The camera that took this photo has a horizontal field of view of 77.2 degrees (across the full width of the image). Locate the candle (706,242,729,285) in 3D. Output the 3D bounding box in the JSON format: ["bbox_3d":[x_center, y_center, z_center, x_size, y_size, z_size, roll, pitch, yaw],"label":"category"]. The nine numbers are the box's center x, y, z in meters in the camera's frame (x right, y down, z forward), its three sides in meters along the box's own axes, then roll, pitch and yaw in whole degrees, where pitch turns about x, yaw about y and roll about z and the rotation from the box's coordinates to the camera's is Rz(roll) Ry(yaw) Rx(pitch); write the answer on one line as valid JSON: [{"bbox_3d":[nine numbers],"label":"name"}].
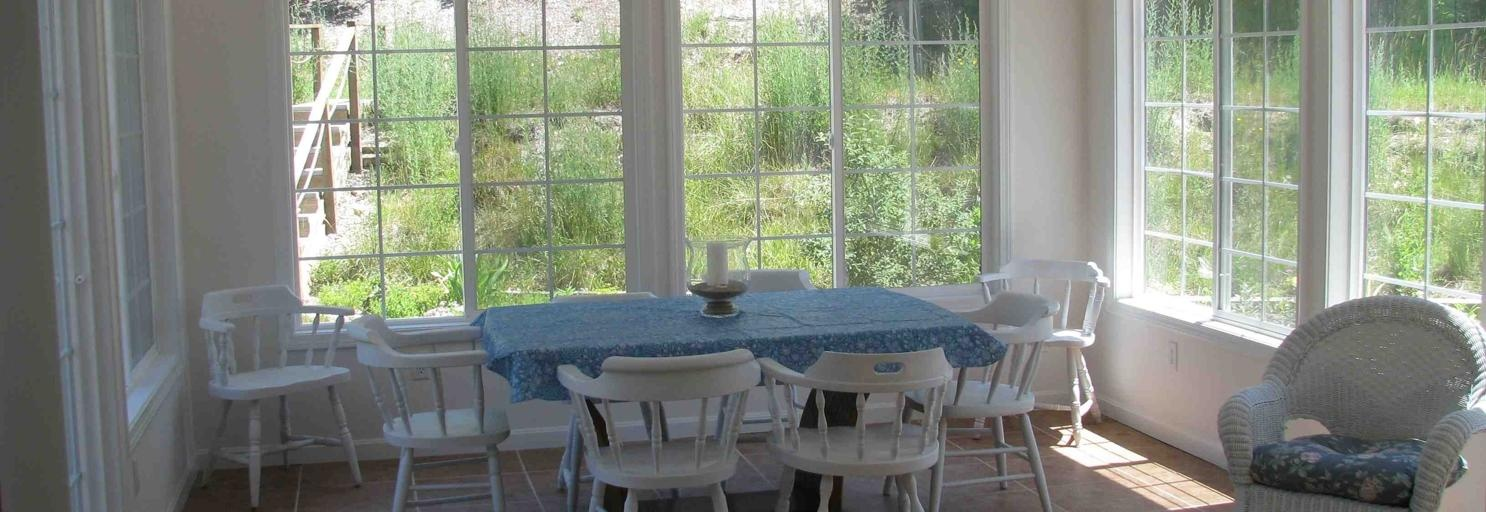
[{"bbox_3d":[-0.233,0.069,8.476,0.225,0.392,0.091,-4,18,5],"label":"candle"}]
